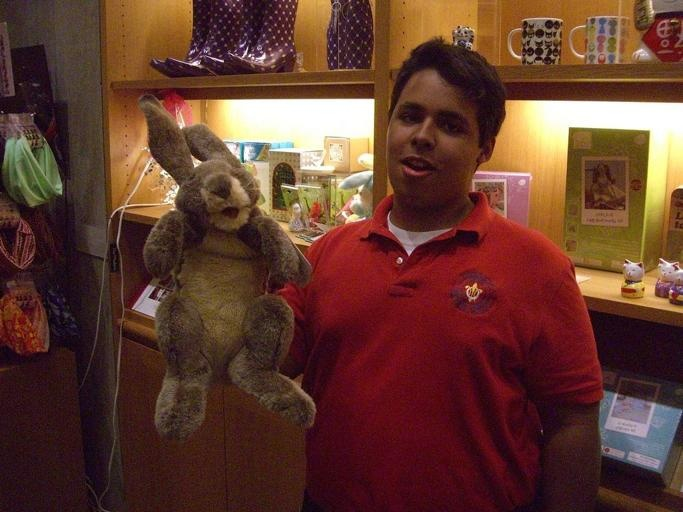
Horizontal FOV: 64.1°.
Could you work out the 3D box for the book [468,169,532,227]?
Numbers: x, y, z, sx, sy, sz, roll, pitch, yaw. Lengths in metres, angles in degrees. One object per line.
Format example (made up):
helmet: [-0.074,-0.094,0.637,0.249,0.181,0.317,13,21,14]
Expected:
book: [0.464,-0.172,1.608,0.174,0.211,0.028,2,3,12]

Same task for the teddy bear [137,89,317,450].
teddy bear: [-0.255,-0.015,1.238,0.359,0.658,0.493,-3,15,-19]

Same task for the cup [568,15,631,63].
cup: [0.721,-0.589,1.572,0.185,0.173,0.122,0,6,26]
